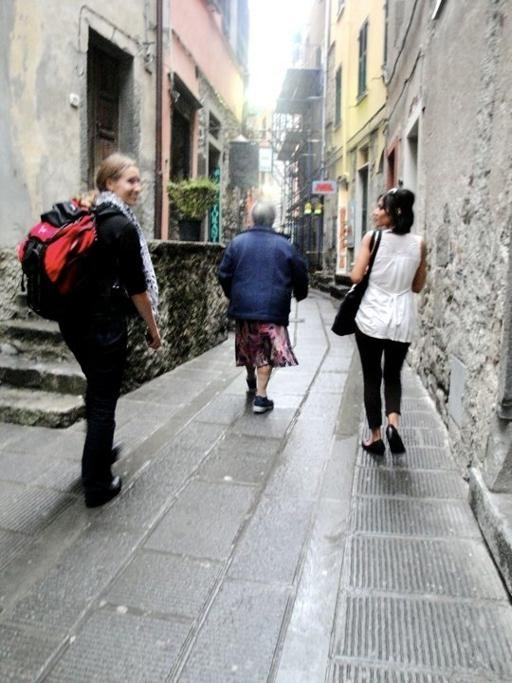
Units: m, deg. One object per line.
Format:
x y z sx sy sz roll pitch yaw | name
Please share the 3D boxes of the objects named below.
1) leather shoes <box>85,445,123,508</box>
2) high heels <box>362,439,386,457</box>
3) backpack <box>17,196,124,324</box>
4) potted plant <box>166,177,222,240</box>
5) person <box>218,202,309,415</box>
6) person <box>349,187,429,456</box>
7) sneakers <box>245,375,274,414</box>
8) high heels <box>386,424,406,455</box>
-0.710 0.630 2.355 0.078 0.259 0.297 5 12 3 | leather shoes
0.676 0.622 2.898 0.046 0.091 0.174 1 7 -5 | high heels
-0.765 -0.336 2.098 0.333 0.478 0.346 -1 23 -15 | backpack
-0.916 -1.843 7.078 0.441 0.913 0.686 2 21 -10 | potted plant
0.061 -0.290 4.065 0.612 1.562 0.600 -4 6 -40 | person
0.785 -0.098 2.937 0.385 1.493 0.285 -1 4 -18 | person
0.019 0.434 3.888 0.097 0.187 0.351 1 10 7 | sneakers
0.783 0.567 2.860 0.063 0.265 0.085 -8 9 16 | high heels
